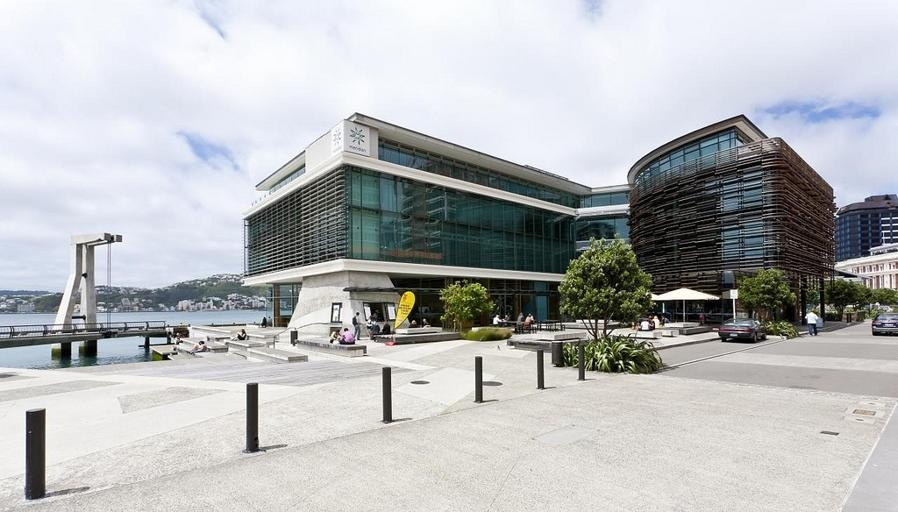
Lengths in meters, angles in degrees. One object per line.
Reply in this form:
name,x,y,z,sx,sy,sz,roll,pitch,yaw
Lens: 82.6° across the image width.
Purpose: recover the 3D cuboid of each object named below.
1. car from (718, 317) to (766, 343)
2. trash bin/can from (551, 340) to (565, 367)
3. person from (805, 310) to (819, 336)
car,19.411,5.158,33.902,3.082,1.551,1.627,-3,13,-8
trash bin/can,5.041,4.556,23.687,0.540,1.098,0.585,1,15,9
person,27.054,5.189,38.090,0.647,1.868,1.277,11,18,38
